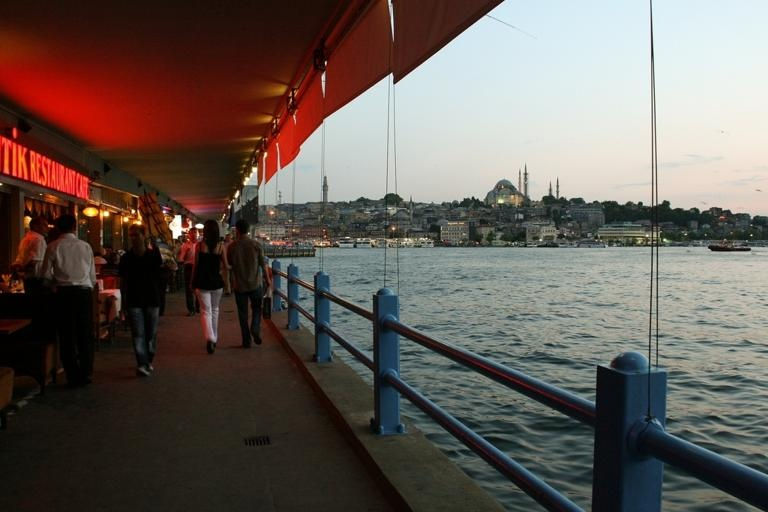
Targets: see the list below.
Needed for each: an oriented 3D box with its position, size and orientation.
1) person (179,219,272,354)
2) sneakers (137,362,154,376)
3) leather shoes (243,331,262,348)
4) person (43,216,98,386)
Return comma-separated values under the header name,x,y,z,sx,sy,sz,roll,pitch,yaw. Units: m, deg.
name,x,y,z,sx,sy,sz,roll,pitch,yaw
person,-2.224,0.419,9.372,1.005,1.828,1.358,-2,1,-3
sneakers,-2.945,1.409,7.829,0.171,0.136,0.328,-3,2,-15
leather shoes,-2.030,1.283,9.659,0.326,0.140,0.181,-17,-2,14
person,-3.610,0.505,7.296,0.549,2.069,0.263,-3,1,-26
